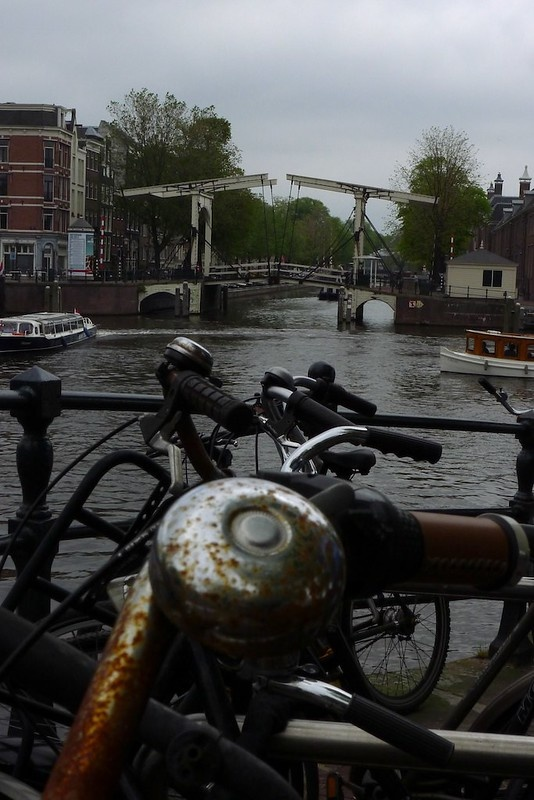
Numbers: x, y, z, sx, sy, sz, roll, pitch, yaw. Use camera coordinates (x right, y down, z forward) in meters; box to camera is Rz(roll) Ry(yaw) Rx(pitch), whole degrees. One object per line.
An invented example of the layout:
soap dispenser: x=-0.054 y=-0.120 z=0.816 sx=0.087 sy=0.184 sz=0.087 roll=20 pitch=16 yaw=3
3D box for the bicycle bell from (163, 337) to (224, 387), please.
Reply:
bicycle bell: x=-0.122 y=-0.067 z=1.254 sx=0.059 sy=0.060 sz=0.072 roll=4 pitch=9 yaw=21

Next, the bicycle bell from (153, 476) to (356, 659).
bicycle bell: x=-0.008 y=0.079 z=0.419 sx=0.100 sy=0.048 sz=0.096 roll=5 pitch=36 yaw=-12

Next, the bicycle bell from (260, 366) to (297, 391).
bicycle bell: x=0.022 y=-0.040 z=1.511 sx=0.057 sy=0.040 sz=0.040 roll=-1 pitch=8 yaw=8
